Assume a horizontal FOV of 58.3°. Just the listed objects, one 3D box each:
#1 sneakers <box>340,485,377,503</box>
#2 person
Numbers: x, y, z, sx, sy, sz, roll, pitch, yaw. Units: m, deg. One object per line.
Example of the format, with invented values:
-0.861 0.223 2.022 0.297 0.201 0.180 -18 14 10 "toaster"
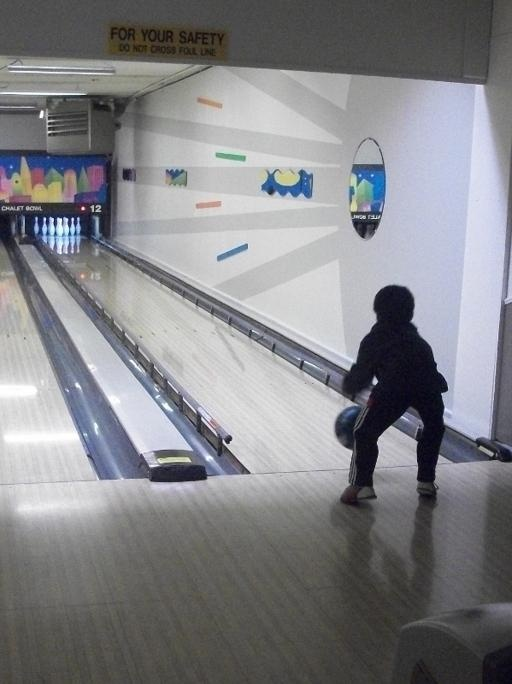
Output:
0.483 0.700 2.151 0.078 0.065 0.147 -6 4 -42 "sneakers"
0.661 0.244 2.201 0.534 1.036 0.305 0 3 -21 "person"
